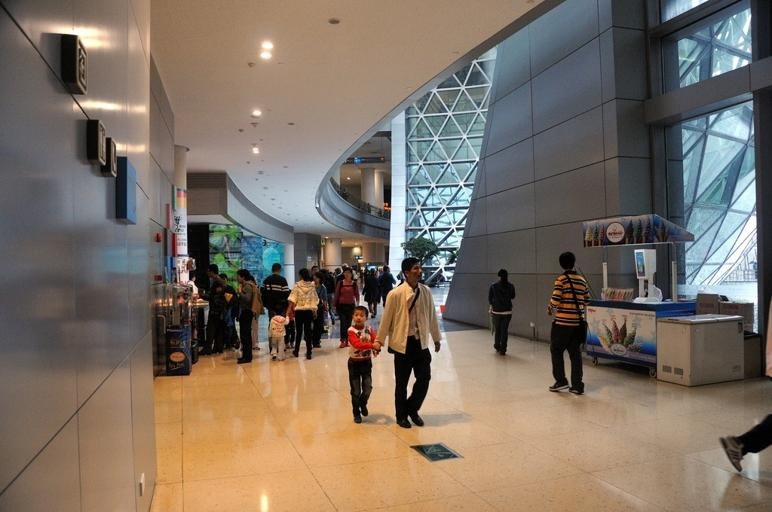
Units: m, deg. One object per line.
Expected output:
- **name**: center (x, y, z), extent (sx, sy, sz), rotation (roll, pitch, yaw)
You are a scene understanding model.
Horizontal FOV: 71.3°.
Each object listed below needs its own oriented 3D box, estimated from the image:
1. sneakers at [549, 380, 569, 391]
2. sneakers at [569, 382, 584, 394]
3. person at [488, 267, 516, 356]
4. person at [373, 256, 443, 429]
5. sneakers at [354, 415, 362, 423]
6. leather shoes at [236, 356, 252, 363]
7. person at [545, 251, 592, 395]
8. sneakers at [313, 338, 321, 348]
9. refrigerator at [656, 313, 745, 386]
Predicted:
- **sneakers**: center (2.429, 1.809, 7.558), extent (0.289, 0.139, 0.117), rotation (-2, -2, 19)
- **sneakers**: center (2.627, 1.805, 7.423), extent (0.189, 0.156, 0.193), rotation (0, 2, 19)
- **person**: center (2.265, 1.079, 10.400), extent (0.469, 1.606, 0.555), rotation (-2, 2, -16)
- **person**: center (0.256, 0.992, 6.230), extent (0.760, 1.935, 0.378), rotation (-1, 2, -2)
- **sneakers**: center (-0.333, 1.920, 6.410), extent (0.093, 0.080, 0.199), rotation (-1, 2, -5)
- **leather shoes**: center (-2.665, 1.926, 10.027), extent (0.336, 0.092, 0.238), rotation (-1, 2, 16)
- **person**: center (2.581, 0.924, 7.597), extent (0.507, 1.917, 0.542), rotation (0, 3, 25)
- **sneakers**: center (-1.484, 1.875, 11.632), extent (0.186, 0.190, 0.114), rotation (-2, -2, 29)
- **refrigerator**: center (4.626, 1.144, 8.079), extent (1.451, 1.214, 0.873), rotation (-1, -2, -24)
